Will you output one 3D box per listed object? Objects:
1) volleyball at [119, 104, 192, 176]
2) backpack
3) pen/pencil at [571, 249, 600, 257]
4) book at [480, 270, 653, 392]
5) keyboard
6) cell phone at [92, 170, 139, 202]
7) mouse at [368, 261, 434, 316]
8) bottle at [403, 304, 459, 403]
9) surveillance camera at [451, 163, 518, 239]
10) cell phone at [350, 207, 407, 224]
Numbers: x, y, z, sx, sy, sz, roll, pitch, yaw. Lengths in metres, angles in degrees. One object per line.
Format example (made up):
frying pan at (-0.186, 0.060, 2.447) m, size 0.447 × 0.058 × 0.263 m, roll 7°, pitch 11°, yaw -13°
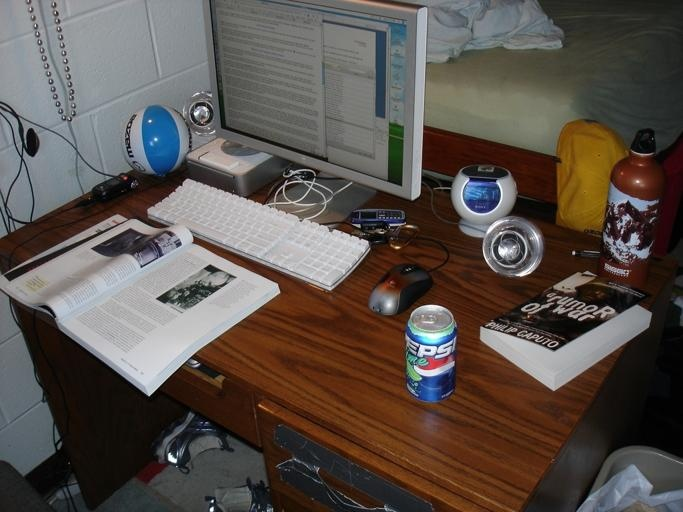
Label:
volleyball at (-0.567, -0.333, 1.503) m, size 0.194 × 0.214 × 0.193 m, roll 20°, pitch 27°, yaw 8°
backpack at (0.693, -0.223, 1.446) m, size 0.117 × 0.366 × 0.240 m, roll 7°, pitch 8°, yaw -33°
pen/pencil at (0.572, -0.005, 1.169) m, size 0.091 × 0.021 × 0.019 m, roll 0°, pitch 24°, yaw 1°
book at (0.459, 0.135, 0.992) m, size 0.313 × 0.059 × 0.198 m, roll -27°, pitch 41°, yaw -25°
keyboard at (-0.224, -0.039, 1.195) m, size 0.716 × 0.100 × 0.229 m, roll 19°, pitch 45°, yaw 26°
cell phone at (-0.645, -0.205, 1.463) m, size 0.067 × 0.044 × 0.131 m, roll 29°, pitch 42°, yaw 29°
mouse at (0.119, 0.064, 1.072) m, size 0.082 × 0.045 × 0.141 m, roll 26°, pitch 49°, yaw 29°
bottle at (0.154, 0.168, 0.899) m, size 0.089 × 0.173 × 0.092 m, roll -1°, pitch 29°, yaw 0°
surveillance camera at (0.351, -0.152, 1.316) m, size 0.178 × 0.166 × 0.178 m, roll 15°, pitch 43°, yaw 22°
cell phone at (0.096, -0.115, 1.268) m, size 0.118 × 0.029 × 0.052 m, roll 8°, pitch 43°, yaw 13°
